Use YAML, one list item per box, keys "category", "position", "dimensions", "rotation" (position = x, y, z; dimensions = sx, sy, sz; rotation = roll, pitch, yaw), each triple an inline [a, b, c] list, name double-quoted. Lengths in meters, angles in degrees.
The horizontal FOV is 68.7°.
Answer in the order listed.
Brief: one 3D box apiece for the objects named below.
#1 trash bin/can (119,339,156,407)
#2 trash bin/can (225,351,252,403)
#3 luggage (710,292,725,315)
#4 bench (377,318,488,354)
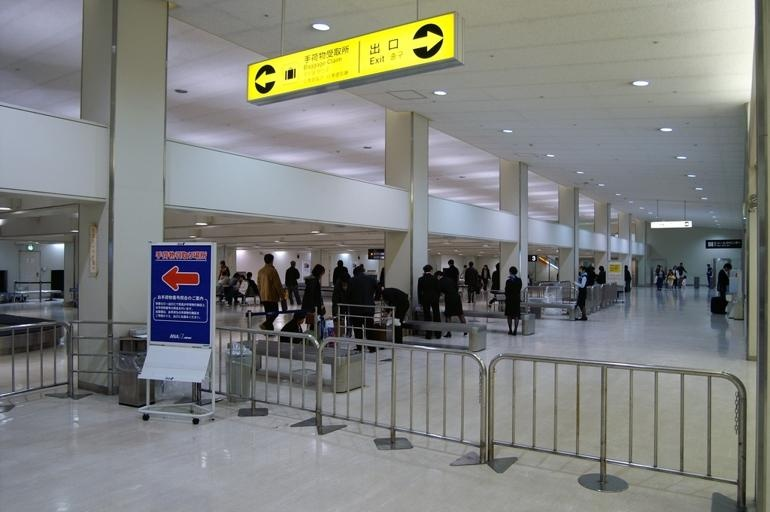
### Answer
- category: "trash bin/can"
  position: [-4.260, 1.976, 9.654]
  dimensions: [0.964, 1.129, 0.403]
  rotation: [0, -2, 31]
- category: "trash bin/can"
  position: [-2.542, 2.003, 9.650]
  dimensions: [0.544, 0.784, 0.351]
  rotation: [1, -2, 9]
- category: "luggage"
  position: [13.082, 1.929, 21.982]
  dimensions: [0.487, 0.683, 0.868]
  rotation: [0, -2, 30]
- category: "bench"
  position: [1.408, 2.061, 14.727]
  dimensions: [3.191, 0.786, 0.720]
  rotation: [0, 6, 43]
